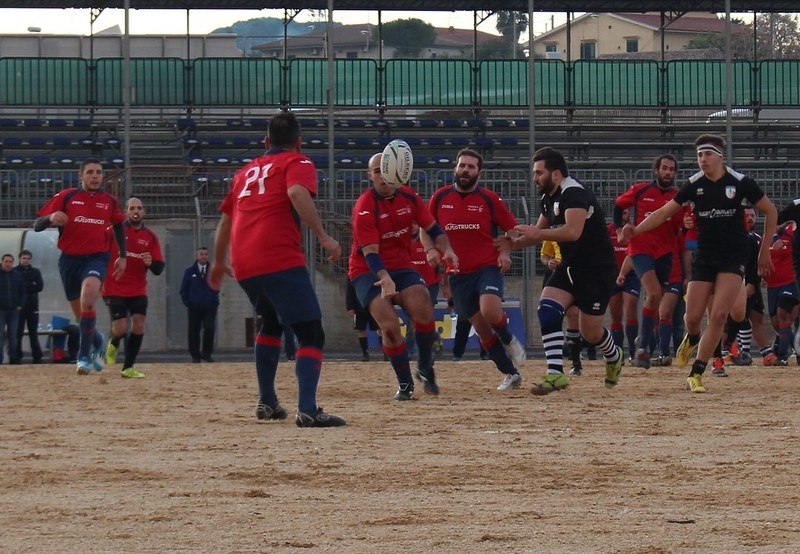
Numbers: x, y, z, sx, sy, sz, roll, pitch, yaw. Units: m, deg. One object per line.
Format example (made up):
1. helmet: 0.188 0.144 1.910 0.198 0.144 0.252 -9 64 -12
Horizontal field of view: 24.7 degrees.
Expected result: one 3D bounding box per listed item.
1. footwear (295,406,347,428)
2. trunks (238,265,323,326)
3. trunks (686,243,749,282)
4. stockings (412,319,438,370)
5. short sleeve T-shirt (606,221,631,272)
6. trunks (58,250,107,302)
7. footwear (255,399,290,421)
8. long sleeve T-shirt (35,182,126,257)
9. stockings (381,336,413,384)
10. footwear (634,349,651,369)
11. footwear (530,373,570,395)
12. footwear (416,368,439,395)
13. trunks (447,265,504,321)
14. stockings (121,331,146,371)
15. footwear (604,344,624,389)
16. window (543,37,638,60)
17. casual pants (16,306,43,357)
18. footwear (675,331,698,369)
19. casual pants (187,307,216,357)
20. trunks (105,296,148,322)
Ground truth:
1. footwear: -1.518 2.582 33.179 0.989 0.381 0.334 0 -5 -8
2. trunks: -2.308 0.370 34.316 1.312 0.933 0.751 -11 16 39
3. trunks: 6.170 -0.197 35.502 1.259 1.078 0.708 5 -10 8
4. stockings: 0.462 1.281 35.589 0.544 1.074 0.517 -4 -14 -7
5. short sleeve T-shirt: 4.790 -0.854 40.396 0.382 0.572 0.628 4 -9 13
6. trunks: -6.636 0.006 37.850 1.365 1.247 0.766 1 0 -3
7. footwear: -2.428 2.495 33.428 0.690 0.299 0.238 1 -3 -9
8. long sleeve T-shirt: -6.947 -1.132 38.992 2.146 1.503 0.867 1 -4 -21
9. stockings: -0.062 1.619 35.092 0.451 1.032 0.436 0 32 23
10. footwear: 5.118 1.741 38.523 0.252 0.327 0.508 2 4 14
11. footwear: 2.854 2.057 35.136 0.810 0.367 0.321 -17 15 -2
12. footwear: 0.574 2.058 35.624 0.249 0.286 0.670 -3 31 -45
13. trunks: 1.481 0.299 35.680 0.997 0.877 0.570 -17 -5 16
14. stockings: -5.892 1.629 39.625 0.295 0.817 0.843 7 0 -22
15. footwear: 4.107 1.780 35.740 0.307 0.884 0.402 12 14 29
16. window: 9.577 -11.452 91.989 4.743 1.376 9.368 -1 3 4
17. casual pants: -8.969 1.358 43.532 0.686 1.451 0.405 0 14 -17
18. footwear: 5.665 1.431 36.064 0.297 0.816 0.360 22 15 5
19. casual pants: -4.753 1.214 43.294 0.676 1.668 0.529 -4 12 -11
20. trunks: -5.820 0.660 38.139 0.892 0.598 0.506 -1 -8 -20
